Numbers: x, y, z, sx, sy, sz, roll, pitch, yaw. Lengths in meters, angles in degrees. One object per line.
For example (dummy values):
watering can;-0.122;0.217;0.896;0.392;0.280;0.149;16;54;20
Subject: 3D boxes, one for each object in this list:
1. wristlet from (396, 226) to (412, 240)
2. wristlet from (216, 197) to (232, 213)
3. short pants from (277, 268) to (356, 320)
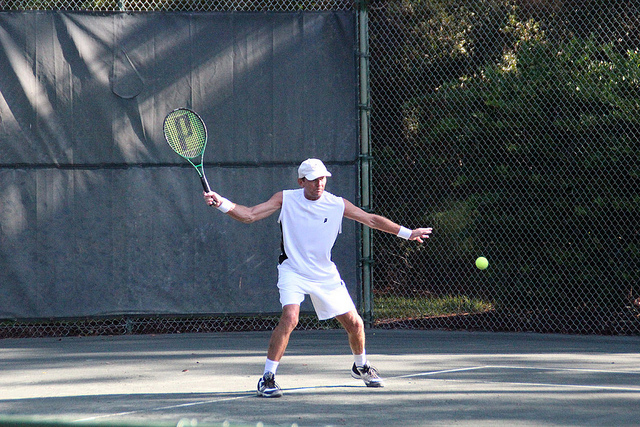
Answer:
wristlet;0.897;0.210;8.999;0.108;0.121;0.142;7;4;12
wristlet;-0.998;-0.076;8.729;0.133;0.126;0.134;36;-52;-21
short pants;-0.046;0.845;8.692;0.786;0.535;0.280;0;5;-5
